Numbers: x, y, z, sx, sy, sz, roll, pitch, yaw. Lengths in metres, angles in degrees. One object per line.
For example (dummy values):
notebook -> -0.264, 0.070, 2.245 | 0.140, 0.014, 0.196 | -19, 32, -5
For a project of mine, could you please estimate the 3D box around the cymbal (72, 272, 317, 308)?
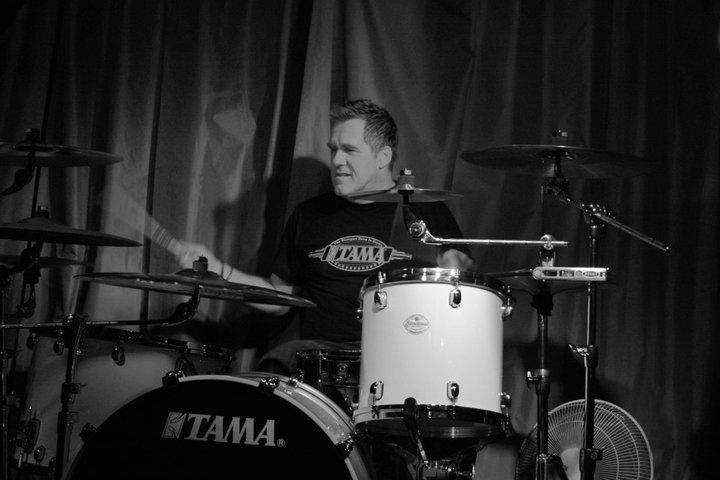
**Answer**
cymbal -> -0.769, 0.223, 3.712 | 0.919, 0.089, 0.743 | -2, -10, 36

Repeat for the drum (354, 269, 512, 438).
drum -> 0.313, 0.506, 3.565 | 0.770, 0.632, 0.729 | 2, -24, 3
